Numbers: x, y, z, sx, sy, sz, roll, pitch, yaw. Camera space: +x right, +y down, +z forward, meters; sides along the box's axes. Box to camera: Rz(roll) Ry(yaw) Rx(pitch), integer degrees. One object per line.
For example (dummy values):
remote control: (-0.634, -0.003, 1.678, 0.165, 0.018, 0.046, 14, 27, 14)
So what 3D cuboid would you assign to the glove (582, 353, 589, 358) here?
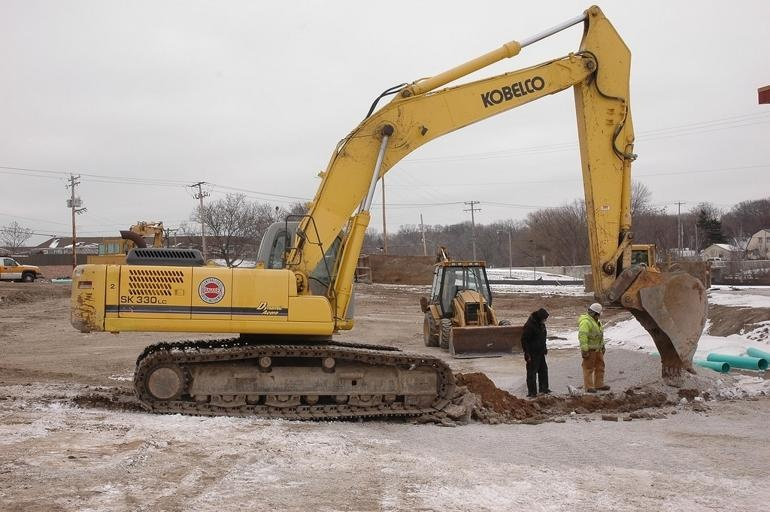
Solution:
glove: (3.867, 1.916, 13.128, 0.141, 0.117, 0.205, 4, 4, 7)

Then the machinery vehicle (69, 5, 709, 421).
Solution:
machinery vehicle: (0.994, -0.118, 14.808, 12.931, 8.955, 5.152, 0, -1, -6)
